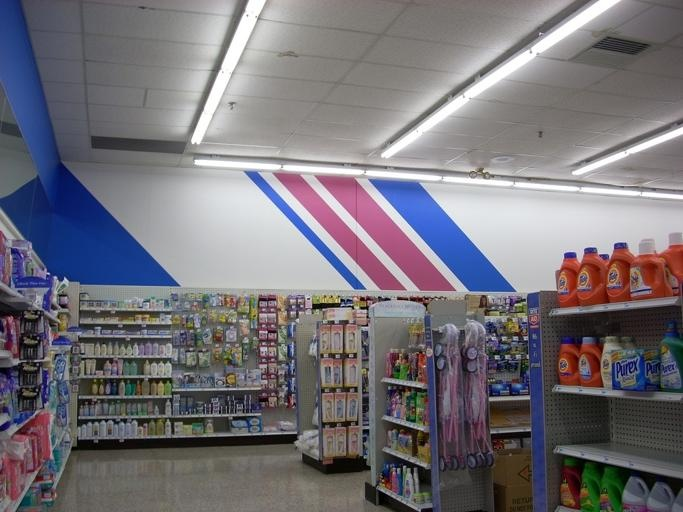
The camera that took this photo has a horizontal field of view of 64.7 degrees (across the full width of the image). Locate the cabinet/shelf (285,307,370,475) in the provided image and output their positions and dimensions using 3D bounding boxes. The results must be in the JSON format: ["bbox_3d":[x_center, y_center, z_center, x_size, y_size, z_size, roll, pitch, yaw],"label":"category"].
[{"bbox_3d":[-0.192,2.169,8.543,0.961,2.789,2.571,0,-5,-10],"label":"cabinet/shelf"}]

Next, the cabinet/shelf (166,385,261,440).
[{"bbox_3d":[-2.484,3.137,10.581,1.818,0.931,0.452,5,-40,-20],"label":"cabinet/shelf"}]
